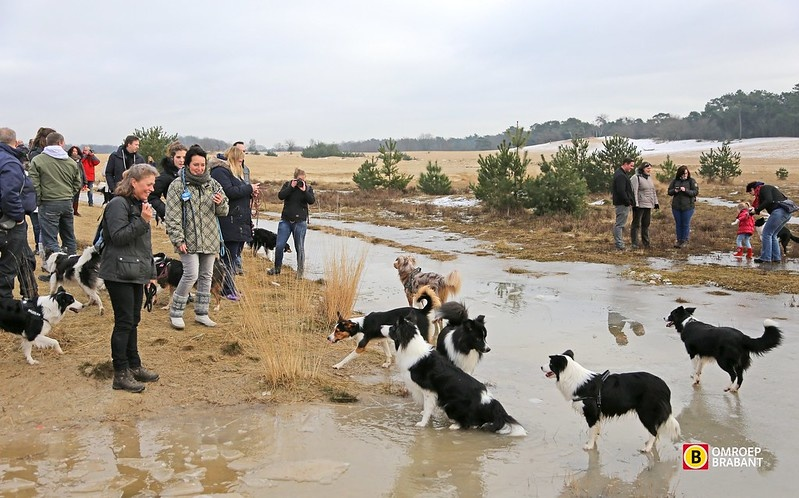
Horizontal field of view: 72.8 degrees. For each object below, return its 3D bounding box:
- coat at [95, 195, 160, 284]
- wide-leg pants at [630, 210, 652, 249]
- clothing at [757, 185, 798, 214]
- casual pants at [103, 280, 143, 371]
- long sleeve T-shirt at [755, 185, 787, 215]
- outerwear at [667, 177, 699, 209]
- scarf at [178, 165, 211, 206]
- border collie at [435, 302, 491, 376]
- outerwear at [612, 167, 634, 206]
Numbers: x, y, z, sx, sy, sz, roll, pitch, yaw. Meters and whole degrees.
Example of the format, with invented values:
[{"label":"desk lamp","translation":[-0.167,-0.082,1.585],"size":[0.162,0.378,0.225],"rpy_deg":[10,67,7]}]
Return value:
[{"label":"coat","translation":[-4.189,-0.153,8.376],"size":[0.801,1.332,1.066],"rpy_deg":[2,1,-9]},{"label":"wide-leg pants","translation":[7.908,-0.890,17.614],"size":[0.523,1.543,0.419],"rpy_deg":[-2,20,0]},{"label":"clothing","translation":[10.707,-1.401,15.353],"size":[0.897,0.812,0.892],"rpy_deg":[8,15,32]},{"label":"casual pants","translation":[-4.160,1.165,8.273],"size":[0.526,1.501,0.333],"rpy_deg":[-8,15,-30]},{"label":"long sleeve T-shirt","translation":[10.575,-1.422,15.370],"size":[0.752,0.815,0.854],"rpy_deg":[-5,-3,-4]},{"label":"outerwear","translation":[9.029,-1.785,17.195],"size":[0.953,1.072,0.680],"rpy_deg":[6,15,42]},{"label":"scarf","translation":[-3.636,-1.139,9.537],"size":[0.494,0.573,0.297],"rpy_deg":[5,2,0]},{"label":"border collie","translation":[1.029,1.474,9.247],"size":[0.563,1.187,1.558],"rpy_deg":[-3,10,-25]},{"label":"outerwear","translation":[6.955,-1.902,16.691],"size":[0.609,1.136,0.357],"rpy_deg":[0,13,-1]}]
